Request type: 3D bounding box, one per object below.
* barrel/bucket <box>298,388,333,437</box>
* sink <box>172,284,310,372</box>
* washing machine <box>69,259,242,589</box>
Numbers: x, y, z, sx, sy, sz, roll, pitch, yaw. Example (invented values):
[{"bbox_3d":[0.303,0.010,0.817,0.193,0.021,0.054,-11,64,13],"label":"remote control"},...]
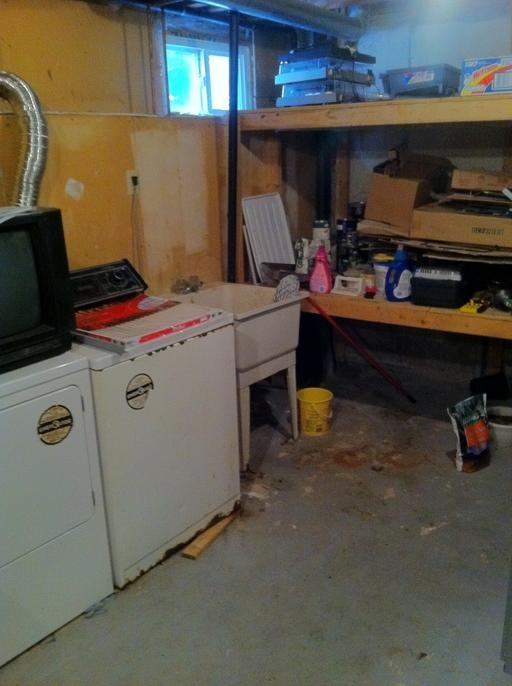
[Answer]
[{"bbox_3d":[0.299,0.364,2.865,0.222,0.196,0.221,-4,16,1],"label":"barrel/bucket"},{"bbox_3d":[-0.064,-0.115,2.464,0.481,0.211,0.405,10,21,43],"label":"sink"},{"bbox_3d":[-0.455,0.227,1.975,0.716,0.964,0.681,-10,19,-25],"label":"washing machine"}]
